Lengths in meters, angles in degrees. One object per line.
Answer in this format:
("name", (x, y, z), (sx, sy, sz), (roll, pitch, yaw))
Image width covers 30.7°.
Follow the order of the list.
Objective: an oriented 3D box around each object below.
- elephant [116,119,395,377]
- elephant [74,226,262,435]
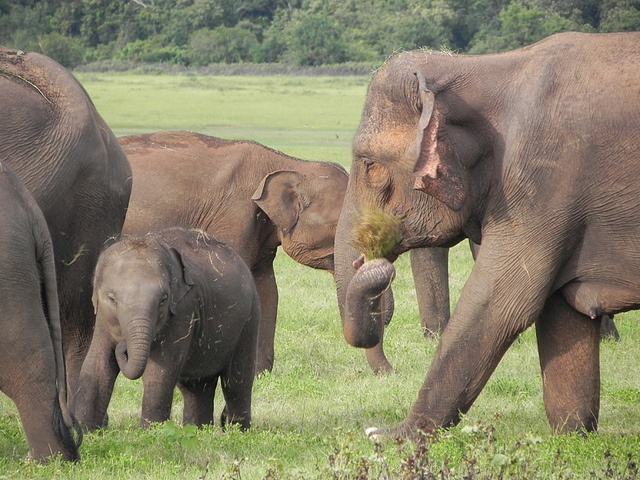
("elephant", (-0.653, 0.116, 9.722), (2.896, 1.811, 1.046), (7, 8, 15))
("elephant", (-1.166, 0.544, 7.163), (0.728, 1.175, 1.623), (2, -3, -7))
